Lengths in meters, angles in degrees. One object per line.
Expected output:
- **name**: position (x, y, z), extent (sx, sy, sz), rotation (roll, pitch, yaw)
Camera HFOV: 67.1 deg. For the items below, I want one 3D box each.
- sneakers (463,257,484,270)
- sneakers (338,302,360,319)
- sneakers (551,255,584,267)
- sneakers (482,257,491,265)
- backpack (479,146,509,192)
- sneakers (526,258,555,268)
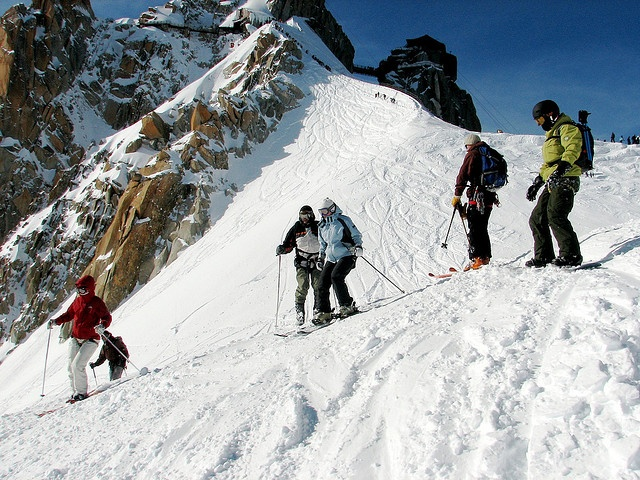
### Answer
- **sneakers**: position (3.173, 0.519, 10.125), extent (0.182, 0.242, 0.519), rotation (-7, 9, -7)
- **sneakers**: position (0.586, 1.507, 10.360), extent (0.596, 0.290, 0.200), rotation (-12, -2, -26)
- **sneakers**: position (4.289, 0.351, 8.497), extent (0.554, 0.288, 0.197), rotation (3, 0, 32)
- **sneakers**: position (3.432, 0.436, 10.060), extent (0.110, 0.160, 0.158), rotation (9, -12, -5)
- **backpack**: position (3.536, -1.494, 10.101), extent (0.609, 0.976, 0.381), rotation (-9, 8, 6)
- **sneakers**: position (3.987, 0.404, 8.921), extent (0.178, 0.196, 0.405), rotation (2, 2, -45)
